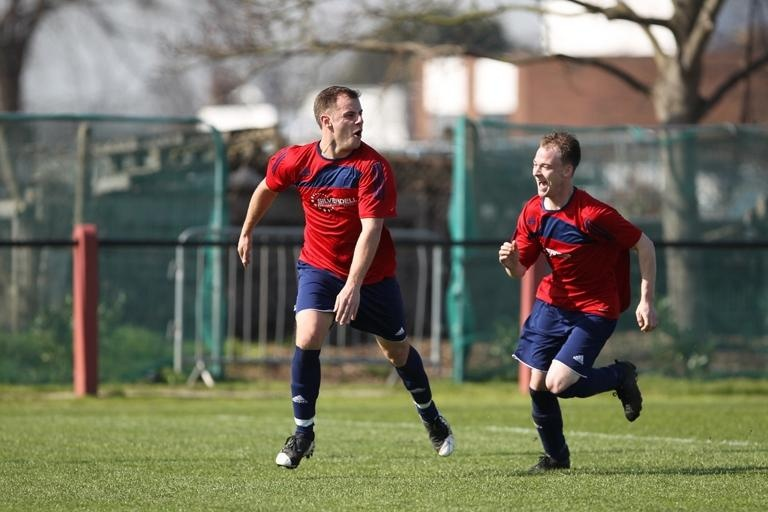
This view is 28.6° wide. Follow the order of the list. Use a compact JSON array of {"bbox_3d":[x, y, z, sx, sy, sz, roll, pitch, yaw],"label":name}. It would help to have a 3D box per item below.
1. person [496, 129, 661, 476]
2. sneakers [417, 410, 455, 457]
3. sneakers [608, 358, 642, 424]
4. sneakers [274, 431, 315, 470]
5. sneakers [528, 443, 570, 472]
[{"bbox_3d":[1.702,0.402,13.065,1.133,2.848,0.495,-1,-3,4],"label":"person"},{"bbox_3d":[0.482,1.603,13.463,0.168,0.460,0.209,-28,-21,9],"label":"sneakers"},{"bbox_3d":[2.153,1.160,13.371,0.271,0.583,0.211,-18,7,-6],"label":"sneakers"},{"bbox_3d":[-0.765,1.630,13.121,0.460,0.231,0.188,-24,28,-36],"label":"sneakers"},{"bbox_3d":[1.442,1.783,13.128,0.389,0.162,0.148,1,-5,-6],"label":"sneakers"}]
